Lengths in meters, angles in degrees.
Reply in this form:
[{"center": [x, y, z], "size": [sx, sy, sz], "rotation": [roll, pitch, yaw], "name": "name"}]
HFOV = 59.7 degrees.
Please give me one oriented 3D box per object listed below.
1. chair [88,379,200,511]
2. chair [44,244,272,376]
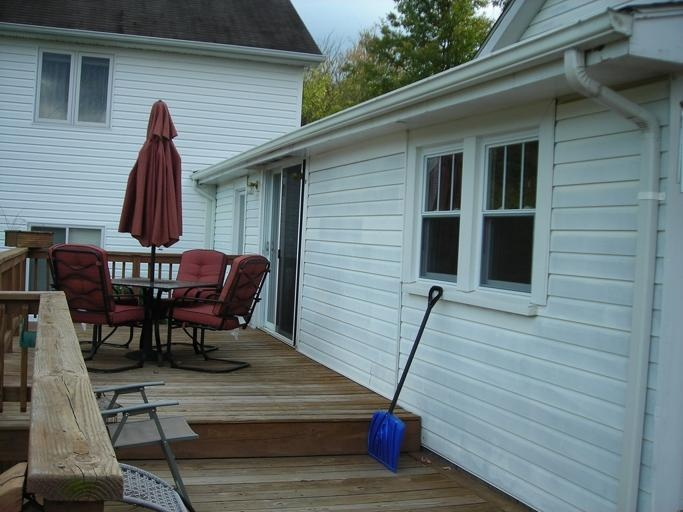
[{"center": [-1.349, 1.170, 4.051], "size": [0.596, 0.774, 1.211], "rotation": [3, 4, -20], "name": "chair"}, {"center": [-1.967, 0.490, 6.398], "size": [2.078, 0.890, 1.714], "rotation": [0, 2, -22], "name": "chair"}]
